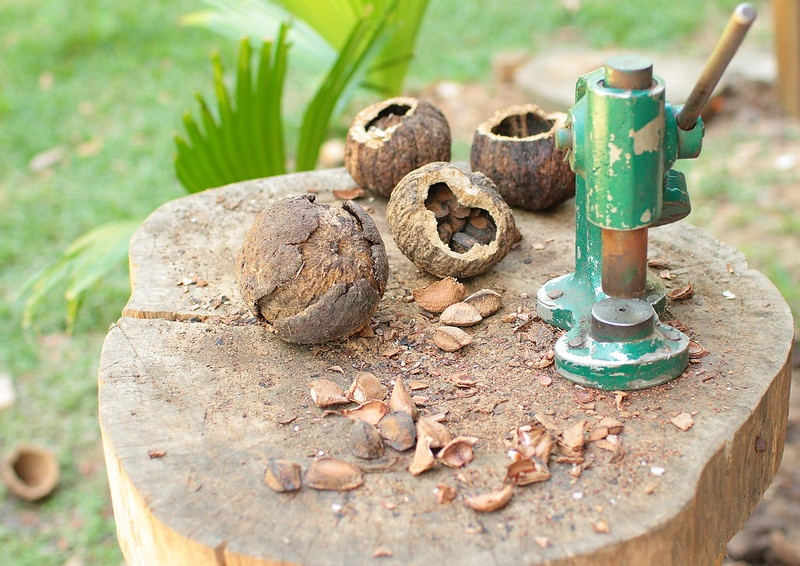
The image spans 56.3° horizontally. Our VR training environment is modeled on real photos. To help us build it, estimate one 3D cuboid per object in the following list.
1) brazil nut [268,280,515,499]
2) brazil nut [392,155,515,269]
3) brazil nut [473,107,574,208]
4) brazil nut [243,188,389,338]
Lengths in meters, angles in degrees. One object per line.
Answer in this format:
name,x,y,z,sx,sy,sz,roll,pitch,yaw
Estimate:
brazil nut,-0.011,0.236,1.872,0.448,0.223,0.729,2,52,14
brazil nut,0.139,-0.202,2.123,0.342,0.321,0.218,-6,10,-26
brazil nut,0.386,-0.389,2.426,0.271,0.361,0.308,9,15,40
brazil nut,-0.235,-0.016,2.016,0.336,0.277,0.371,15,56,-6
